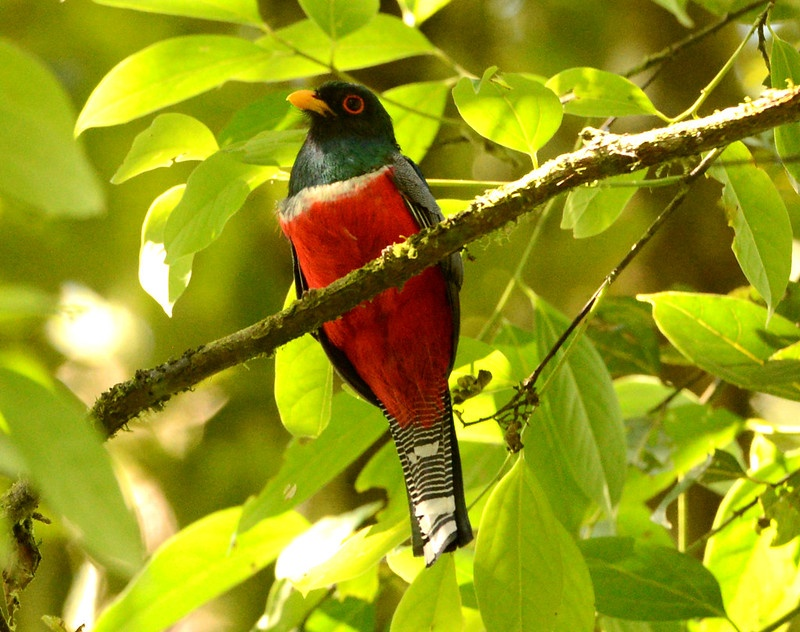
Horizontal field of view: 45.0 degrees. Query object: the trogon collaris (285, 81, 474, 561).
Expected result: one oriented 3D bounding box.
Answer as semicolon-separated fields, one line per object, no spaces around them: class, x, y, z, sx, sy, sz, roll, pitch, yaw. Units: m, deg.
trogon collaris;-0.147;0.081;3.650;0.575;0.746;1.798;-12;-77;6
